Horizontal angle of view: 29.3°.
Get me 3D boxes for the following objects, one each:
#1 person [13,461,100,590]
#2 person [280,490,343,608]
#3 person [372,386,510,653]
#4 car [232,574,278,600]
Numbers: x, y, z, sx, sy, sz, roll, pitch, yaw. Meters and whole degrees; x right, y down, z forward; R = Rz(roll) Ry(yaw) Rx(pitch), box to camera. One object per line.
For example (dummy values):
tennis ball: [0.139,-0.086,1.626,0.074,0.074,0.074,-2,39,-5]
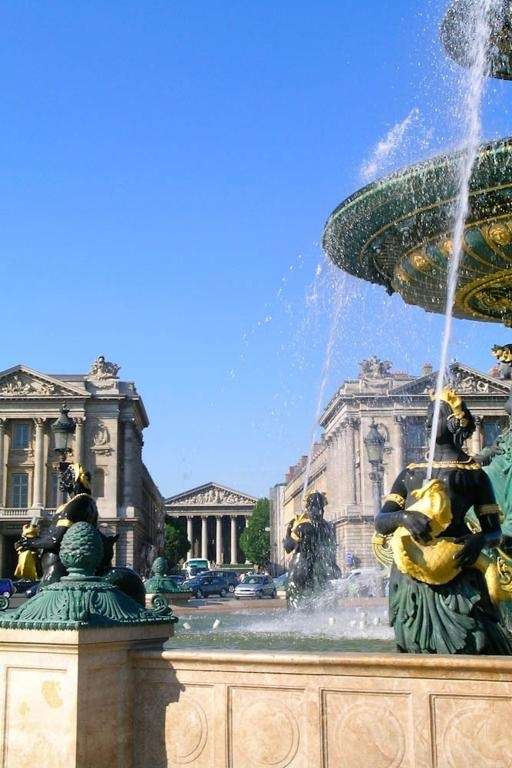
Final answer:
person: [-1.340,1.148,6.496,0.505,1.237,0.416,6,-21,-14]
person: [0.645,1.906,11.421,0.641,1.332,0.992,-3,-13,1]
person: [0.897,0.616,4.757,0.644,1.355,0.853,-4,-14,6]
car: [0.012,7.830,37.937,1.524,0.966,2.840,-3,-14,0]
